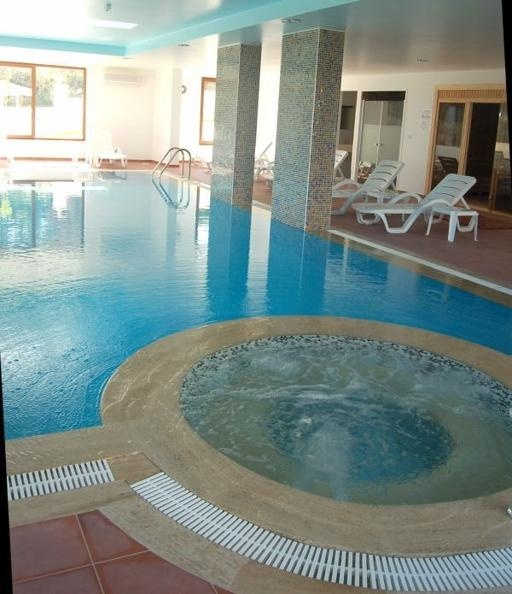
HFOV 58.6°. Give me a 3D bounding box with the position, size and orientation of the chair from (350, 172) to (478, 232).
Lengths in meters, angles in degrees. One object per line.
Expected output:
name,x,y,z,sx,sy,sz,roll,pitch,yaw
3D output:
chair,3.608,-1.950,9.552,2.827,1.097,1.408,-7,26,-13

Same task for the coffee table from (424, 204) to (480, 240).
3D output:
coffee table,3.958,-1.484,9.210,0.993,0.628,0.911,-4,19,-12
